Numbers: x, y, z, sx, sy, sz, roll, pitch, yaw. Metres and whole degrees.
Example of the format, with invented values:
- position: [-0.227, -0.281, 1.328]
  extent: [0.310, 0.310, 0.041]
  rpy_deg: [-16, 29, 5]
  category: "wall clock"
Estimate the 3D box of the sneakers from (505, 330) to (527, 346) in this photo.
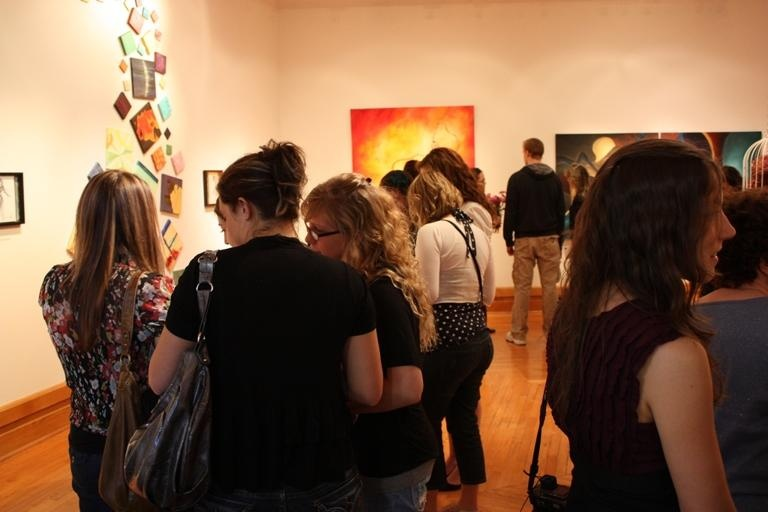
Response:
- position: [1.624, 1.011, 6.699]
  extent: [0.245, 0.140, 0.196]
  rpy_deg: [1, 8, 13]
  category: "sneakers"
